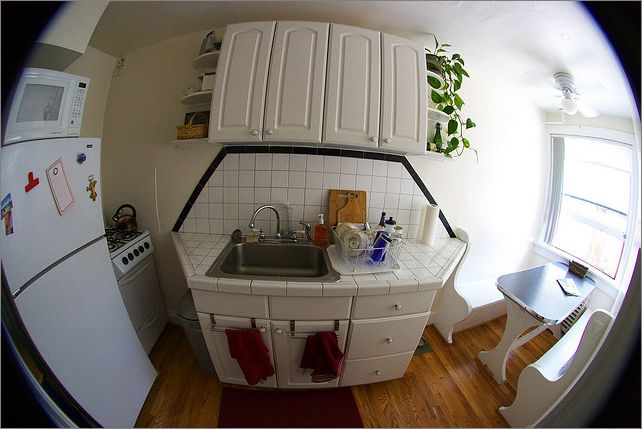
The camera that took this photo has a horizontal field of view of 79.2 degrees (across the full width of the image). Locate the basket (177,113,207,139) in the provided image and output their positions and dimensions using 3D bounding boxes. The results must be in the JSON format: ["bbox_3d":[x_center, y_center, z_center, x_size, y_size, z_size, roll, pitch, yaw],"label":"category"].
[{"bbox_3d":[-0.771,-0.540,2.353,0.196,0.160,0.158,0,16,-3],"label":"basket"}]

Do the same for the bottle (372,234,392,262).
[{"bbox_3d":[0.355,0.206,2.293,0.107,0.179,0.078,3,15,7],"label":"bottle"}]

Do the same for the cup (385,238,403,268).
[{"bbox_3d":[0.429,0.226,2.304,0.091,0.161,0.096,14,34,-10],"label":"cup"}]

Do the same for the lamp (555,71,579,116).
[{"bbox_3d":[1.125,-0.554,1.763,0.111,0.192,0.082,1,15,1],"label":"lamp"}]

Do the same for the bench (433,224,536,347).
[{"bbox_3d":[1.296,0.619,2.950,0.788,0.779,0.356,10,10,-28],"label":"bench"}]

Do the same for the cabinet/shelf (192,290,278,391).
[{"bbox_3d":[-0.453,0.707,2.417,0.383,0.624,0.436,6,29,27],"label":"cabinet/shelf"}]

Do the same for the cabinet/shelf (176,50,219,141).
[{"bbox_3d":[-0.736,-0.727,2.352,0.162,0.519,0.518,7,3,-41],"label":"cabinet/shelf"}]

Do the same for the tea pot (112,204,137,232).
[{"bbox_3d":[-1.199,0.014,2.387,0.140,0.155,0.113,-2,7,-16],"label":"tea pot"}]

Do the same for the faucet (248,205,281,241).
[{"bbox_3d":[-0.355,0.060,2.522,0.215,0.292,0.090,-7,37,-18],"label":"faucet"}]

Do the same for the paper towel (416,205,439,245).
[{"bbox_3d":[0.736,0.062,2.671,0.126,0.273,0.138,5,16,15],"label":"paper towel"}]

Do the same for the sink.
[{"bbox_3d":[-0.266,0.331,2.367,0.756,0.202,0.389,1,16,-1],"label":"sink"}]

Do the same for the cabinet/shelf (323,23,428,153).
[{"bbox_3d":[0.311,-0.745,2.246,0.679,0.656,0.356,3,-1,-11],"label":"cabinet/shelf"}]

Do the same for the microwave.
[{"bbox_3d":[-1.104,-0.440,1.554,0.161,0.268,0.318,22,8,22],"label":"microwave"}]

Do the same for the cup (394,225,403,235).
[{"bbox_3d":[0.476,0.096,2.367,0.047,0.042,0.055,1,1,-4],"label":"cup"}]

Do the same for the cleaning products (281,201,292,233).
[{"bbox_3d":[-0.218,0.018,2.586,0.073,0.227,0.103,-1,15,-6],"label":"cleaning products"}]

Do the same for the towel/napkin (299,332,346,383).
[{"bbox_3d":[0.005,0.823,2.240,0.240,0.288,0.107,0,15,-2],"label":"towel/napkin"}]

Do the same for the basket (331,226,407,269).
[{"bbox_3d":[0.284,0.188,2.361,0.317,0.151,0.272,2,36,-1],"label":"basket"}]

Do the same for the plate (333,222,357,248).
[{"bbox_3d":[0.162,0.121,2.397,0.134,0.141,0.035,4,2,43],"label":"plate"}]
